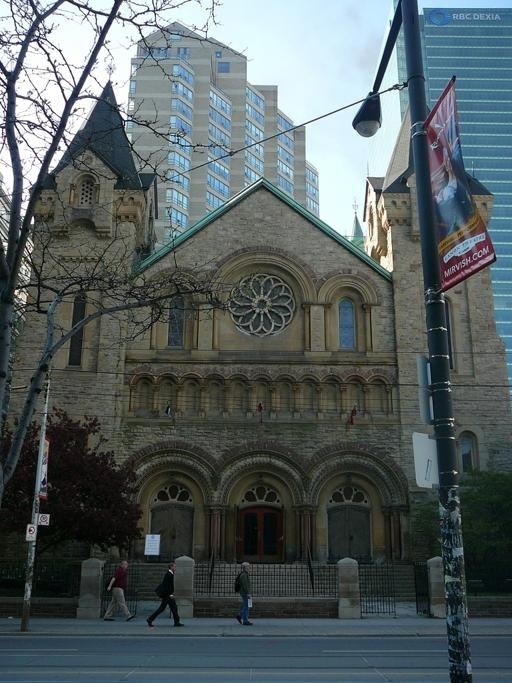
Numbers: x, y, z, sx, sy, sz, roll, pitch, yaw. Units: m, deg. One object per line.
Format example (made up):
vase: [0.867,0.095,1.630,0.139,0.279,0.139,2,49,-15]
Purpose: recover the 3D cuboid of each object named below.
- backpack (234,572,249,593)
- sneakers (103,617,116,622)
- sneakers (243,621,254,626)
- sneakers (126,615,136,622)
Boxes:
backpack: [-0.360,6.440,18.763,0.303,0.552,0.518,3,-17,-16]
sneakers: [-4.076,7.697,19.463,0.326,0.123,0.099,0,-40,10]
sneakers: [-0.212,7.444,18.532,0.296,0.174,0.091,1,-17,-1]
sneakers: [-3.552,7.815,19.797,0.132,0.163,0.384,3,-39,-20]
